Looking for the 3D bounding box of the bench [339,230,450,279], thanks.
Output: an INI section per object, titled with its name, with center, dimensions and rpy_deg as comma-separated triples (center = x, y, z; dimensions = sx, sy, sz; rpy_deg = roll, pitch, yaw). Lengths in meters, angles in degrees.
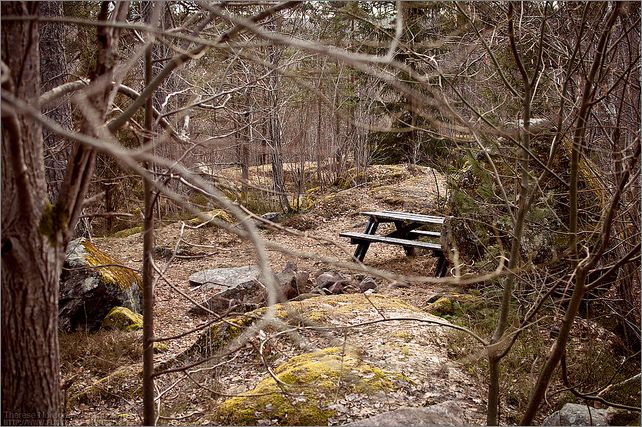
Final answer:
[bench]
center = 1.356, 0.692, 10.884
dimensions = 2.137, 0.608, 0.829
rpy_deg = 9, 12, 40
